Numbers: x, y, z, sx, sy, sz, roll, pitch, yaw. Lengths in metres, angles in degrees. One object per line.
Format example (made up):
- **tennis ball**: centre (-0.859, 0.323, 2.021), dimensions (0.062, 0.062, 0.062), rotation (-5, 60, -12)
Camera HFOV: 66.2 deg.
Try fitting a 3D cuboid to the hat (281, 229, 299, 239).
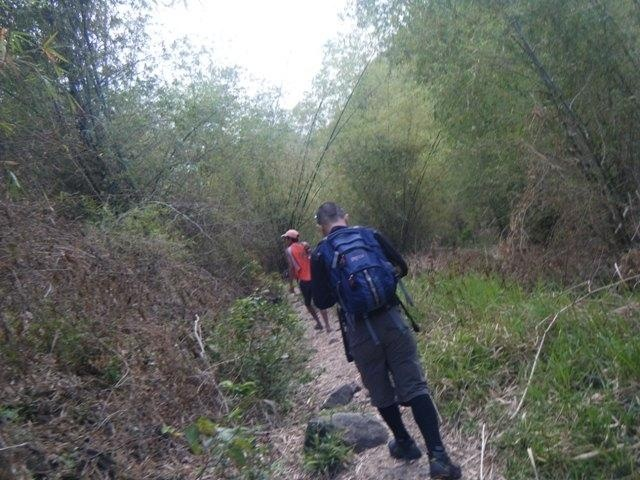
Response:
- **hat**: centre (-0.505, -0.038, 8.355), dimensions (0.274, 0.185, 0.195), rotation (5, 13, 32)
